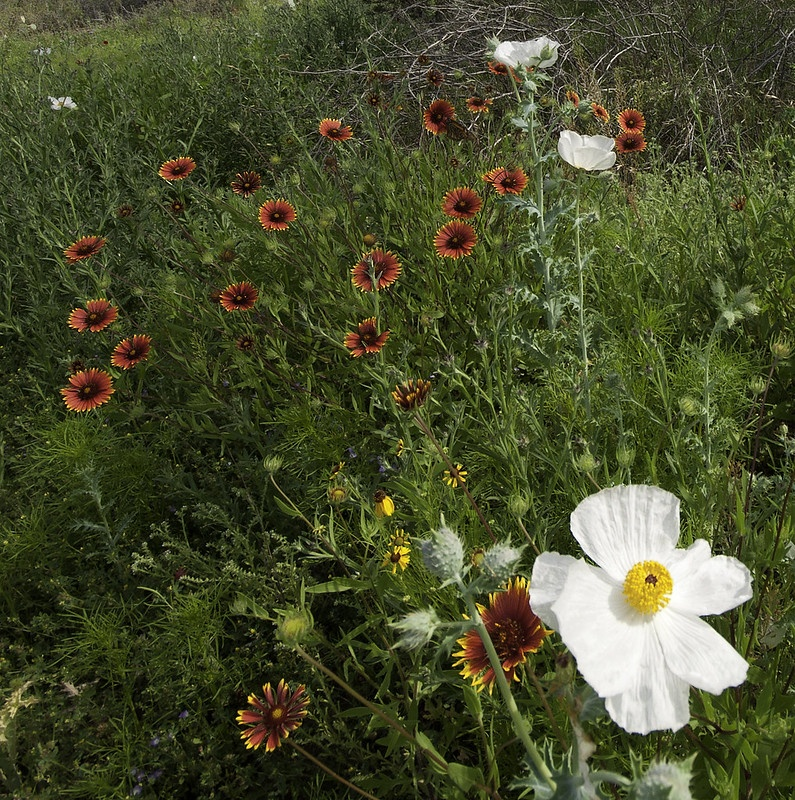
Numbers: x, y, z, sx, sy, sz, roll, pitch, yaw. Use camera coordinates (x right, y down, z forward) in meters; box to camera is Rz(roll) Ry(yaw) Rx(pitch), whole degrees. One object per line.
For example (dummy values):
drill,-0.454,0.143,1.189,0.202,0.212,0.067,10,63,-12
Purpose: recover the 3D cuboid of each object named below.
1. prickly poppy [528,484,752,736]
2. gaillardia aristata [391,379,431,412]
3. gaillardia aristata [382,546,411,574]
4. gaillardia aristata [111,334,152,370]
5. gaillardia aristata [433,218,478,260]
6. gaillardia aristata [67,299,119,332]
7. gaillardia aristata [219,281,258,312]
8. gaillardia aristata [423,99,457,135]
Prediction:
prickly poppy,0.343,0.269,0.945,0.255,0.209,0.335,13,70,29
gaillardia aristata,0.024,0.014,1.482,0.072,0.075,0.051,-39,97,27
gaillardia aristata,-0.005,0.362,1.556,0.050,0.024,0.065,-8,72,23
gaillardia aristata,-0.964,-0.165,2.467,0.108,0.052,0.151,-6,72,3
gaillardia aristata,0.191,-0.536,2.344,0.116,0.058,0.156,-3,80,16
gaillardia aristata,-1.142,-0.303,2.562,0.142,0.058,0.182,-15,55,3
gaillardia aristata,-0.559,-0.355,2.399,0.090,0.039,0.120,-6,73,11
gaillardia aristata,0.155,-1.165,2.880,0.113,0.053,0.146,-1,79,-15
